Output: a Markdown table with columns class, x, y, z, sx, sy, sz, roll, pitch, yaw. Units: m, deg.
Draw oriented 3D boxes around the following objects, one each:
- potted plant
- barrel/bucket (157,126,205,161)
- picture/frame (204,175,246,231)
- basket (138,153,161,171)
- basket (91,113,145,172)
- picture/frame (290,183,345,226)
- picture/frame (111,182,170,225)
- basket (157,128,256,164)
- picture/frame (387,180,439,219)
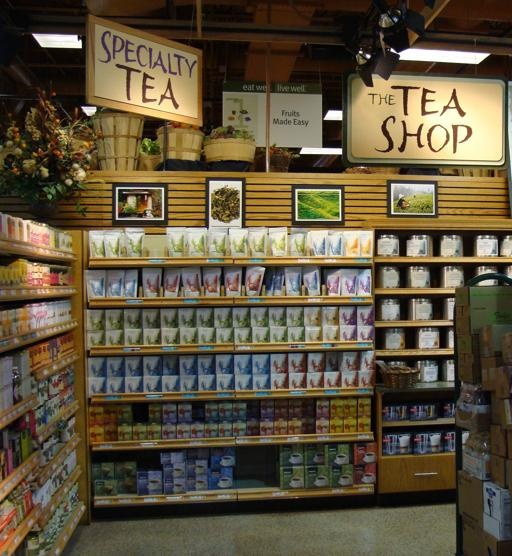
| class | x | y | z | sx | sy | sz | roll | pitch | yaw |
| --- | --- | --- | --- | --- | --- | --- | --- | --- | --- |
| potted plant | -0.253 | -1.025 | 5.313 | 0.712 | 0.225 | 0.627 | 1 | 0 | -30 |
| barrel/bucket | -0.619 | -1.107 | 5.155 | 0.378 | 0.294 | 0.413 | 0 | 4 | 0 |
| picture/frame | -0.263 | -0.606 | 5.086 | 0.486 | 0.591 | 0.031 | 0 | -2 | -9 |
| basket | -0.912 | -0.983 | 5.313 | 0.170 | 0.123 | 0.161 | 0 | 4 | 32 |
| basket | -1.087 | -1.081 | 5.097 | 0.444 | 0.435 | 0.465 | 1 | 3 | 3 |
| picture/frame | 0.484 | -0.610 | 5.223 | 0.371 | 0.281 | 0.027 | 0 | -3 | -7 |
| picture/frame | -0.919 | -0.585 | 5.135 | 0.582 | 0.460 | 0.304 | 1 | 2 | -5 |
| basket | -0.429 | -1.088 | 5.170 | 0.431 | 0.142 | 0.440 | 0 | 0 | 34 |
| picture/frame | 1.318 | -0.671 | 5.360 | 0.374 | 0.252 | 0.015 | 0 | -4 | -5 |
